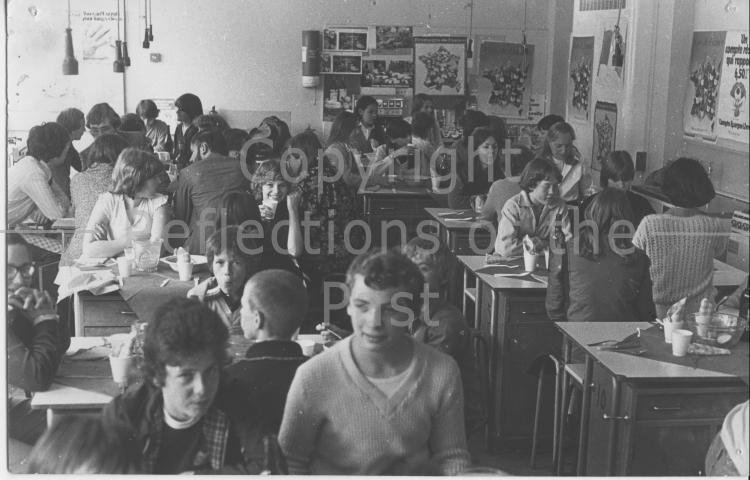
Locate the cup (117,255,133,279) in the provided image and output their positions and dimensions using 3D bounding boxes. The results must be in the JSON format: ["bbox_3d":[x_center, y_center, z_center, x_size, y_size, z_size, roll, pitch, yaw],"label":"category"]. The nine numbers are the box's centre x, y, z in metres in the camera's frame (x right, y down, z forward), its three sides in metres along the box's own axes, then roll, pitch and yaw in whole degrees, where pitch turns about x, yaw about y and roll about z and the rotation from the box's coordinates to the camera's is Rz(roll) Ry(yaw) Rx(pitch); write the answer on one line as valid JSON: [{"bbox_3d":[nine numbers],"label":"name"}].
[{"bbox_3d":[-1.215,0.128,3.404,0.095,0.099,0.064,0,1,-20],"label":"cup"}]

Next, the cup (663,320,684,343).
[{"bbox_3d":[1.432,0.435,3.396,0.076,0.106,0.123,-2,5,3],"label":"cup"}]

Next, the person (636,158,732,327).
[{"bbox_3d":[1.635,0.142,3.724,0.439,1.210,0.335,-1,29,23],"label":"person"}]

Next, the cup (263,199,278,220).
[{"bbox_3d":[-0.511,-0.157,3.467,0.081,0.089,0.068,7,4,4],"label":"cup"}]

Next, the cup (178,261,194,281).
[{"bbox_3d":[-0.924,0.145,3.399,0.077,0.087,0.075,1,3,0],"label":"cup"}]

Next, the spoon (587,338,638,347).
[{"bbox_3d":[1.158,0.495,3.418,0.261,0.041,0.081,2,7,6],"label":"spoon"}]

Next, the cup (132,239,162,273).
[{"bbox_3d":[-1.112,0.070,3.411,0.142,0.131,0.125,-3,-3,38],"label":"cup"}]

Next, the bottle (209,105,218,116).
[{"bbox_3d":[-0.778,-0.624,3.375,0.032,0.048,0.035,1,15,0],"label":"bottle"}]

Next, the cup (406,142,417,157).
[{"bbox_3d":[0.175,-0.444,3.396,0.047,0.028,0.096,12,-25,7],"label":"cup"}]

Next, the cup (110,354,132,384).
[{"bbox_3d":[-1.237,0.622,3.410,0.118,0.128,0.116,1,-1,0],"label":"cup"}]

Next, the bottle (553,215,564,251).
[{"bbox_3d":[0.932,-0.033,3.560,0.027,0.138,0.136,1,27,13],"label":"bottle"}]

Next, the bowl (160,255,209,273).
[{"bbox_3d":[-0.919,0.108,3.411,0.138,0.032,0.117,4,14,8],"label":"bowl"}]

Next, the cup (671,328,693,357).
[{"bbox_3d":[1.451,0.491,3.323,0.118,0.094,0.081,4,-4,-15],"label":"cup"}]

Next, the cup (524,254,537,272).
[{"bbox_3d":[0.810,0.114,3.660,0.078,0.092,0.081,0,16,0],"label":"cup"}]

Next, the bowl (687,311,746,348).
[{"bbox_3d":[1.683,0.429,3.363,0.181,0.098,0.192,-2,13,0],"label":"bowl"}]

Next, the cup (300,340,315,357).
[{"bbox_3d":[-0.334,0.522,3.462,0.077,0.070,0.071,-1,5,0],"label":"cup"}]

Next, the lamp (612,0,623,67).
[{"bbox_3d":[1.192,-1.006,3.438,0.063,0.310,0.043,2,10,12],"label":"lamp"}]
